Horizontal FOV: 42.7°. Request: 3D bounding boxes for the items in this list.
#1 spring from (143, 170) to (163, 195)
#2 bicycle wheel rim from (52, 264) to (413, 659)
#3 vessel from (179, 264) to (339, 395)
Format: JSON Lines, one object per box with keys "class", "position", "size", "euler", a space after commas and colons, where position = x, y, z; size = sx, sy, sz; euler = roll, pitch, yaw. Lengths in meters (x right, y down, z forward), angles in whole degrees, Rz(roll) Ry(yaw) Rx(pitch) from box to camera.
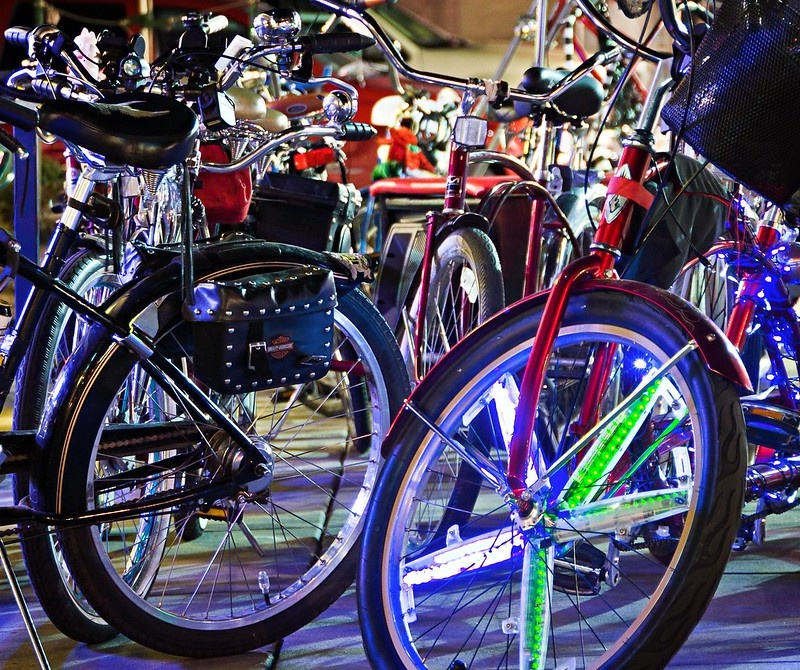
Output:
{"class": "spring", "position": [-0.567, -0.348, 2.334], "size": [0.049, 0.054, 0.048], "euler": [7, 24, 11]}
{"class": "bicycle wheel rim", "position": [-0.341, 0.277, 2.297], "size": [0.916, 0.945, 0.157], "euler": [-17, 21, -33]}
{"class": "vessel", "position": [-0.287, -0.016, 2.200], "size": [0.351, 0.282, 0.099], "euler": [4, 6, -38]}
